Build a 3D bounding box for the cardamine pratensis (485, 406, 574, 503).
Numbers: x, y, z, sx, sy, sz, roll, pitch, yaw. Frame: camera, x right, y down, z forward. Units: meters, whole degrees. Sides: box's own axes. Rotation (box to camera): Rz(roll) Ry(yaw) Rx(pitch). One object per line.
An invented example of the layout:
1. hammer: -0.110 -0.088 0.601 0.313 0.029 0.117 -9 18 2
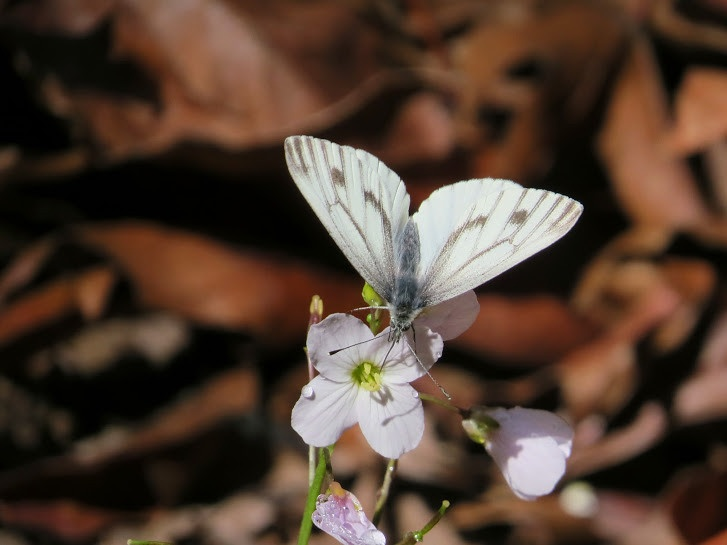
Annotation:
1. cardamine pratensis: 0.179 0.202 0.936 0.092 0.074 0.074 0 33 12
